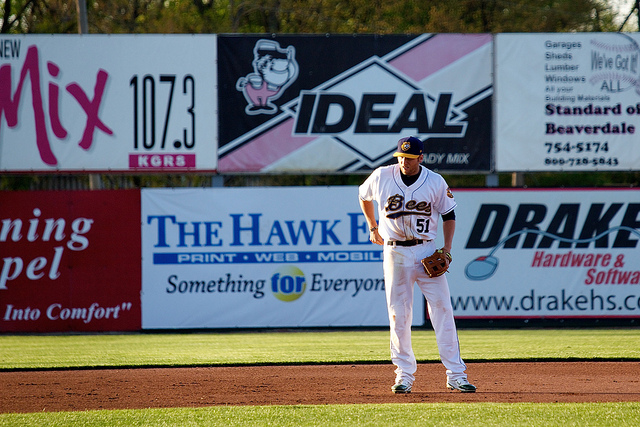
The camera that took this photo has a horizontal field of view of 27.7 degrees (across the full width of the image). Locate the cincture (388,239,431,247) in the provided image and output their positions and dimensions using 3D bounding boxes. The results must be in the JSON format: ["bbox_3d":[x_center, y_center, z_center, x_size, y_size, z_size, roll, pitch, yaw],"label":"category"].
[{"bbox_3d":[1.395,0.485,20.393,0.410,0.124,0.025,2,4,0],"label":"cincture"}]

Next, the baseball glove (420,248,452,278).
[{"bbox_3d":[1.851,0.760,20.361,0.392,0.538,0.141,38,29,-4],"label":"baseball glove"}]

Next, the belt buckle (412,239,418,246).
[{"bbox_3d":[1.482,0.477,20.384,0.080,0.100,0.012,1,4,-9],"label":"belt buckle"}]
